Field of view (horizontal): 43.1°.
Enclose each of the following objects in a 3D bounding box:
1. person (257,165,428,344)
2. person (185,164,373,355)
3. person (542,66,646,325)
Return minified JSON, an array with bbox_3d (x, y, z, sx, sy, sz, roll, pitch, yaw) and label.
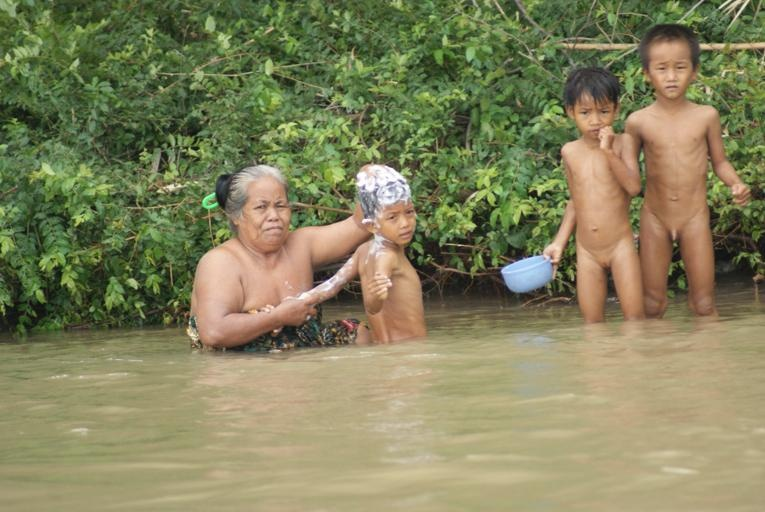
[{"bbox_3d":[-0.083,0.012,6.803,0.552,1.274,0.576,5,18,31],"label":"person"},{"bbox_3d":[-0.716,0.022,7.103,1.658,1.201,1.093,2,14,-32],"label":"person"},{"bbox_3d":[1.600,-0.461,7.262,0.729,1.884,0.568,2,17,25],"label":"person"}]
